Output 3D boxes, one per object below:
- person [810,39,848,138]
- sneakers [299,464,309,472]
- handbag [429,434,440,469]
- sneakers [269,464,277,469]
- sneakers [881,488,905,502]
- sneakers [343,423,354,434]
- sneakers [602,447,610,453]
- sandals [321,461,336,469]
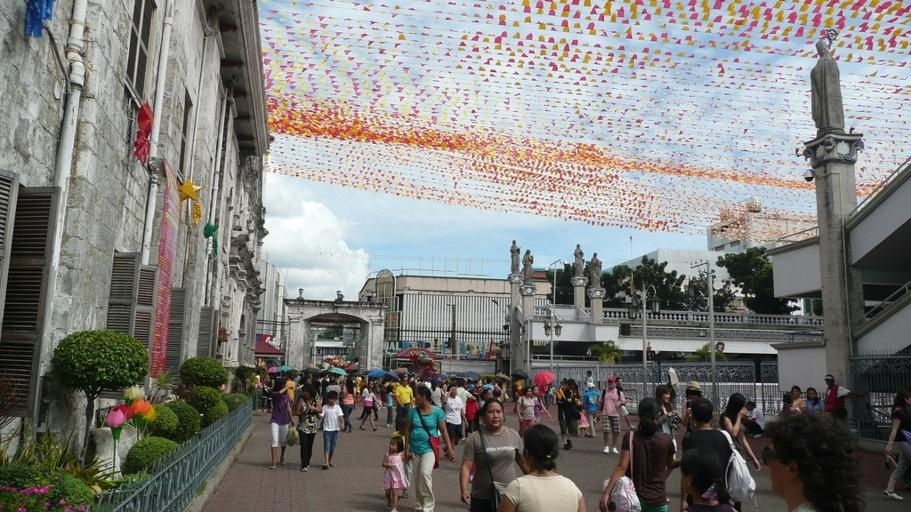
[{"bbox_3d":[12.784,-5.935,25.376,0.875,3.558,0.960,-2,-11,24],"label":"person"},{"bbox_3d":[-4.036,5.704,19.756,0.229,0.107,0.332,-2,-5,13],"label":"sneakers"},{"bbox_3d":[-0.461,4.417,16.597,0.138,0.704,0.315,-2,-11,24],"label":"handbag"},{"bbox_3d":[-4.920,5.703,19.787,0.114,0.105,0.280,2,-17,-8],"label":"sneakers"},{"bbox_3d":[10.454,5.726,17.570,0.586,0.227,0.191,5,2,-8],"label":"sneakers"},{"bbox_3d":[-4.188,6.773,28.833,0.223,0.258,0.611,-8,-39,-21],"label":"sneakers"},{"bbox_3d":[4.944,6.402,24.153,0.194,0.171,0.402,-3,-22,11],"label":"sneakers"},{"bbox_3d":[-3.543,5.848,20.365,0.147,0.166,0.408,1,-20,12],"label":"sandals"}]
